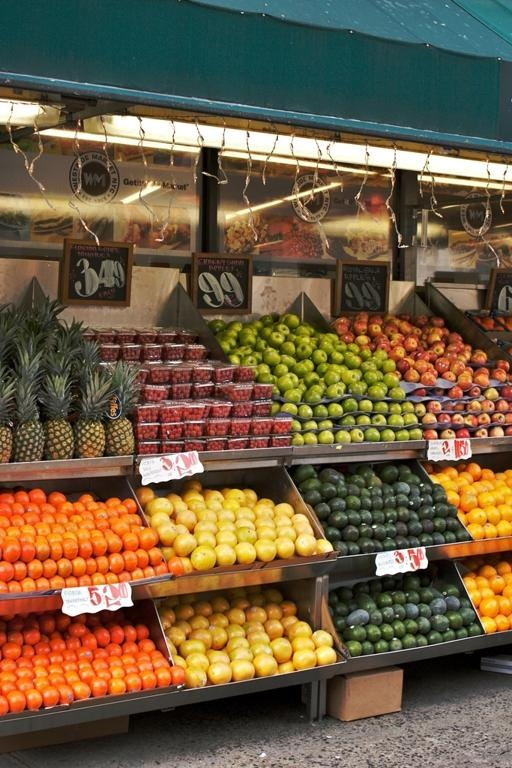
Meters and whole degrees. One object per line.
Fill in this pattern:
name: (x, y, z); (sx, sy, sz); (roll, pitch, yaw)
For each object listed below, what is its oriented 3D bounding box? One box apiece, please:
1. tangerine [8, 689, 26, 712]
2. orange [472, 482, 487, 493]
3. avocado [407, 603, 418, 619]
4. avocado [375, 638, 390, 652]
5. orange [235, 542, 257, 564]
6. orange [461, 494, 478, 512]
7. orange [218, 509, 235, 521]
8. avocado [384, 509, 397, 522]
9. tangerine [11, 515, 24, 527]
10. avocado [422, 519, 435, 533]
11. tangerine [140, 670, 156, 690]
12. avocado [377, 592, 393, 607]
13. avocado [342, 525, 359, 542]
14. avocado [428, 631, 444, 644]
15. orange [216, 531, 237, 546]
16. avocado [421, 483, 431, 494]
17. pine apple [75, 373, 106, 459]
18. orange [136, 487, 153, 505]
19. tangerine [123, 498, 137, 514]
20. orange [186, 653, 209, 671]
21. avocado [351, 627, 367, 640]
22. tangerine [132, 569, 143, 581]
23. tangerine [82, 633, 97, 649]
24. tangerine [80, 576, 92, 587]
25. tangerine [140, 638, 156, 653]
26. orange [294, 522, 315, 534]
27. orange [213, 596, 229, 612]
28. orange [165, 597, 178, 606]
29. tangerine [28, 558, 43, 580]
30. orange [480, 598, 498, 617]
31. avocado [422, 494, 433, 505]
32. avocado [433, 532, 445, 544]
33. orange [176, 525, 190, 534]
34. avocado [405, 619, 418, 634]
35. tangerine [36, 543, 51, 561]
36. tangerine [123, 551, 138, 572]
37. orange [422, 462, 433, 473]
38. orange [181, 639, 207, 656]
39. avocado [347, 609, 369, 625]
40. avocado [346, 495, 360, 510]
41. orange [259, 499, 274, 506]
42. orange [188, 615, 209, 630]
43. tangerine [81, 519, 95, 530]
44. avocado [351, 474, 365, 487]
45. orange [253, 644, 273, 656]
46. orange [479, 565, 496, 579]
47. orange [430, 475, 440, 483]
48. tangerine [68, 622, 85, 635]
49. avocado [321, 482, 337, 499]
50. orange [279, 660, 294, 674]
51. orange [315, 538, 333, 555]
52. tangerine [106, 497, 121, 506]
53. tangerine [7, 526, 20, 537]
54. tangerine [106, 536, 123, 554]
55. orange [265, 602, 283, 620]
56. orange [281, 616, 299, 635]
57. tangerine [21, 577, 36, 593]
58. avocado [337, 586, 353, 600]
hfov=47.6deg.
tangerine: (-0.741, 0.981, 1.814); (0.054, 0.065, 0.053); (-2, -27, -21)
orange: (1.374, 0.624, 3.546); (0.070, 0.071, 0.081); (1, 47, -3)
avocado: (0.803, 1.156, 2.975); (0.060, 0.071, 0.060); (1, -18, -8)
avocado: (0.604, 1.245, 2.773); (0.051, 0.050, 0.052); (34, 64, 28)
orange: (-0.038, 0.716, 2.466); (0.093, 0.092, 0.054); (3, -10, -5)
orange: (1.237, 0.683, 3.428); (0.102, 0.102, 0.097); (15, -8, -39)
orange: (-0.130, 0.590, 2.664); (0.049, 0.050, 0.050); (-1, 1, -25)
avocado: (0.711, 0.680, 3.062); (0.060, 0.059, 0.059); (-4, 10, -4)
tangerine: (-0.878, 0.504, 2.154); (0.046, 0.034, 0.067); (3, -10, -11)
avocado: (0.921, 0.752, 3.102); (0.059, 0.069, 0.061); (-1, 7, 10)
tangerine: (-0.383, 1.063, 2.094); (0.050, 0.063, 0.052); (-1, -17, -5)
avocado: (0.655, 1.086, 2.945); (0.059, 0.070, 0.060); (6, -13, -13)
avocado: (0.470, 0.733, 2.852); (0.068, 0.084, 0.075); (2, -1, 21)
avocado: (0.922, 1.283, 2.955); (0.057, 0.056, 0.057); (-4, 29, 3)
orange: (-0.121, 0.652, 2.473); (0.062, 0.057, 0.061); (2, -4, -7)
avocado: (0.956, 0.581, 3.289); (0.046, 0.057, 0.049); (-15, -16, -12)
pine apple: (-0.642, 0.133, 2.285); (0.121, 0.342, 0.112); (11, 14, 36)
orange: (-0.502, 0.504, 2.642); (0.070, 0.067, 0.064); (2, -22, -11)
tangerine: (-0.535, 0.517, 2.486); (0.055, 0.054, 0.055); (-4, -21, -4)
orange: (-0.226, 1.100, 2.321); (0.066, 0.053, 0.056); (1, -26, 11)
avocado: (0.491, 1.171, 2.742); (0.059, 0.059, 0.058); (3, -14, -7)
tangerine: (-0.447, 0.717, 2.205); (0.033, 0.033, 0.033); (41, 26, 12)
tangerine: (-0.636, 0.987, 2.235); (0.056, 0.050, 0.076); (4, -10, -15)
tangerine: (-0.610, 0.703, 2.084); (0.030, 0.030, 0.030); (-6, 49, -14)
tangerine: (-0.425, 1.027, 2.308); (0.037, 0.036, 0.037); (31, 36, 25)
orange: (0.235, 0.672, 2.713); (0.122, 0.050, 0.058); (10, -13, -41)
orange: (-0.164, 1.044, 2.786); (0.053, 0.052, 0.053); (36, 1, -16)
orange: (-0.380, 0.991, 2.661); (0.082, 0.041, 0.020); (10, -14, -41)
tangerine: (-0.742, 0.623, 1.961); (0.056, 0.071, 0.056); (0, -3, -39)
orange: (1.293, 1.230, 3.215); (0.085, 0.107, 0.090); (5, -34, 0)
avocado: (0.947, 0.631, 3.214); (0.046, 0.053, 0.047); (0, 30, -4)
avocado: (0.975, 0.818, 3.107); (0.053, 0.056, 0.055); (-6, -2, 5)
orange: (-0.309, 0.609, 2.459); (0.038, 0.021, 0.030); (15, 6, -5)
avocado: (0.786, 1.211, 2.942); (0.060, 0.060, 0.062); (17, 5, 41)
tangerine: (-0.730, 0.572, 1.997); (0.045, 0.058, 0.052); (10, 27, 0)
tangerine: (-0.482, 0.678, 2.245); (0.065, 0.083, 0.065); (0, -11, -20)
orange: (1.072, 0.513, 3.618); (0.048, 0.058, 0.048); (-6, -12, -18)
orange: (-0.258, 1.085, 2.405); (0.062, 0.058, 0.062); (-46, 8, -6)
avocado: (0.497, 1.127, 2.815); (0.084, 0.049, 0.060); (-10, -38, -9)
avocado: (0.501, 0.600, 2.961); (0.064, 0.074, 0.063); (-5, 5, 17)
orange: (0.056, 0.581, 2.891); (0.038, 0.037, 0.037); (-5, 18, -36)
orange: (-0.248, 1.050, 2.568); (0.050, 0.048, 0.055); (10, 47, 44)
tangerine: (-0.647, 0.540, 2.248); (0.032, 0.032, 0.032); (-44, -12, 9)
avocado: (0.560, 0.518, 3.163); (0.054, 0.064, 0.053); (0, -15, 0)
orange: (0.036, 1.150, 2.518); (0.091, 0.037, 0.066); (5, -11, -20)
orange: (1.413, 1.121, 3.524); (0.065, 0.077, 0.066); (-8, 5, -39)
orange: (1.063, 0.558, 3.453); (0.046, 0.055, 0.045); (24, -27, -27)
tangerine: (-0.691, 0.947, 2.252); (0.044, 0.037, 0.040); (-38, 6, 46)
avocado: (0.380, 0.541, 2.979); (0.072, 0.071, 0.072); (-2, 1, 4)
orange: (0.135, 1.220, 2.514); (0.037, 0.036, 0.036); (5, -1, -2)
orange: (0.320, 0.749, 2.680); (0.107, 0.070, 0.093); (3, -10, -8)
tangerine: (-0.603, 0.498, 2.514); (0.035, 0.035, 0.034); (-3, 5, -31)
tangerine: (-0.846, 0.514, 2.035); (0.032, 0.032, 0.032); (4, 22, -36)
tangerine: (-0.534, 0.602, 2.205); (0.059, 0.059, 0.060); (0, 40, 13)
orange: (0.089, 1.079, 2.768); (0.065, 0.067, 0.067); (4, -28, 39)
orange: (0.164, 1.132, 2.737); (0.057, 0.071, 0.063); (4, -5, -1)
tangerine: (-0.754, 0.665, 1.929); (0.038, 0.038, 0.038); (-3, -39, -31)
avocado: (0.462, 1.060, 2.964); (0.054, 0.063, 0.054); (-1, 35, -24)
